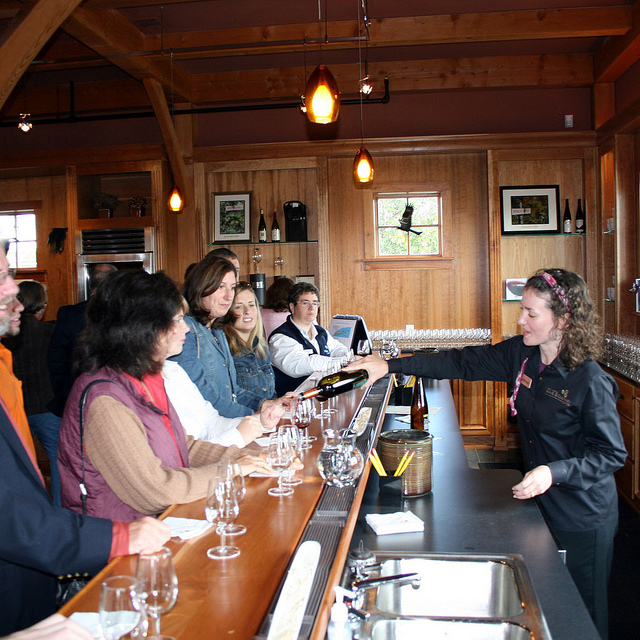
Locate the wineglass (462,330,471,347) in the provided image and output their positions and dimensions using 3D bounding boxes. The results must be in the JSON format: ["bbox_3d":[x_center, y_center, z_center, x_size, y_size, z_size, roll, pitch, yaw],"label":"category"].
[{"bbox_3d":[1.513,0.174,5.809,0.082,0.153,0.063,-2,3,-12],"label":"wineglass"}]

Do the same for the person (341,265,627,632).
[{"bbox_3d":[0.882,0.405,2.294,0.430,1.220,0.943,-2,3,0],"label":"person"}]

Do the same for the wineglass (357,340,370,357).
[{"bbox_3d":[0.372,0.244,4.848,0.132,0.151,0.121,-1,3,-27],"label":"wineglass"}]

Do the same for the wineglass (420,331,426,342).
[{"bbox_3d":[1.080,0.160,5.894,0.059,0.096,0.043,-1,3,5],"label":"wineglass"}]

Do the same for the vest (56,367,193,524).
[{"bbox_3d":[-0.625,0.363,1.820,0.389,0.484,0.348,0,10,-20],"label":"vest"}]

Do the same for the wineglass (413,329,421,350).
[{"bbox_3d":[1.018,0.182,5.889,0.081,0.175,0.137,-1,3,8],"label":"wineglass"}]

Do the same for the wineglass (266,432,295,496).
[{"bbox_3d":[-0.127,0.424,1.723,0.080,0.184,0.163,-2,3,-11],"label":"wineglass"}]

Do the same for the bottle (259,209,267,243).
[{"bbox_3d":[-0.617,-1.019,6.029,0.080,0.366,0.124,-2,3,-3],"label":"bottle"}]

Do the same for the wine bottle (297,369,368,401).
[{"bbox_3d":[0.097,0.292,2.580,0.110,0.095,0.396,0,3,33],"label":"wine bottle"}]

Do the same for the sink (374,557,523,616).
[{"bbox_3d":[0.340,0.698,1.441,0.286,0.089,0.205,0,10,0],"label":"sink"}]

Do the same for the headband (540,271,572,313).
[{"bbox_3d":[0.902,-0.110,2.157,0.049,0.151,0.127,-2,3,-15],"label":"headband"}]

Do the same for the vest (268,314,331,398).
[{"bbox_3d":[-0.201,0.285,4.583,0.501,0.620,0.474,4,7,1],"label":"vest"}]

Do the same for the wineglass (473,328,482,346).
[{"bbox_3d":[1.633,0.164,5.837,0.075,0.168,0.123,-1,3,15],"label":"wineglass"}]

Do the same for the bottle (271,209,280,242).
[{"bbox_3d":[-0.482,-1.019,6.012,0.090,0.360,0.137,-2,3,-5],"label":"bottle"}]

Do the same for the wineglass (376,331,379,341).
[{"bbox_3d":[0.609,0.165,5.950,0.028,0.090,0.045,-1,3,6],"label":"wineglass"}]

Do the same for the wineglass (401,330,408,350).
[{"bbox_3d":[0.883,0.189,5.889,0.062,0.164,0.106,-1,3,20],"label":"wineglass"}]

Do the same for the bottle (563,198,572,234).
[{"bbox_3d":[2.500,-1.058,5.672,0.068,0.369,0.113,-1,3,20],"label":"bottle"}]

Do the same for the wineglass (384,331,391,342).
[{"bbox_3d":[0.712,0.157,5.926,0.070,0.089,0.061,-1,3,11],"label":"wineglass"}]

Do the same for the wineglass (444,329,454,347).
[{"bbox_3d":[1.328,0.180,5.820,0.130,0.147,0.050,0,-1,19],"label":"wineglass"}]

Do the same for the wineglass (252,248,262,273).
[{"bbox_3d":[-0.679,-0.673,6.069,0.103,0.233,0.141,-2,3,-7],"label":"wineglass"}]

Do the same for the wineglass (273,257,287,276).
[{"bbox_3d":[-0.430,-0.588,6.052,0.150,0.189,0.138,-2,3,-3],"label":"wineglass"}]

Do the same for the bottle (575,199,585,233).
[{"bbox_3d":[2.627,-1.057,5.668,0.074,0.342,0.071,-2,3,0],"label":"bottle"}]

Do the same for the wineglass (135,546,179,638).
[{"bbox_3d":[-0.282,0.474,0.984,0.049,0.142,0.055,6,7,-2],"label":"wineglass"}]
